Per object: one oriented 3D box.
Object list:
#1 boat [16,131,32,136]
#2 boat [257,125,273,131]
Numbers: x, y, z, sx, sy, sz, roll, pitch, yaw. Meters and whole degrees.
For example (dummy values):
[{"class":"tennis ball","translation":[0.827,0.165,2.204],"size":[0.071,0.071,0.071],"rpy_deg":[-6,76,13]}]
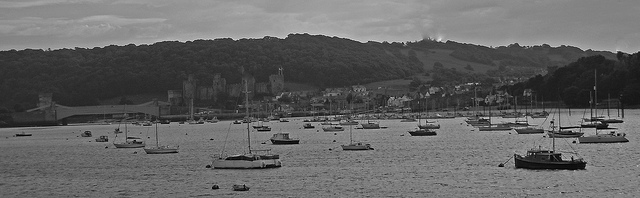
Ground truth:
[{"class":"boat","translation":[-167.451,19.716,401.077],"size":[9.380,2.171,4.570],"rpy_deg":[-2,-2,35]},{"class":"boat","translation":[-31.696,16.934,406.898],"size":[7.537,2.531,4.732],"rpy_deg":[-1,-2,3]}]
